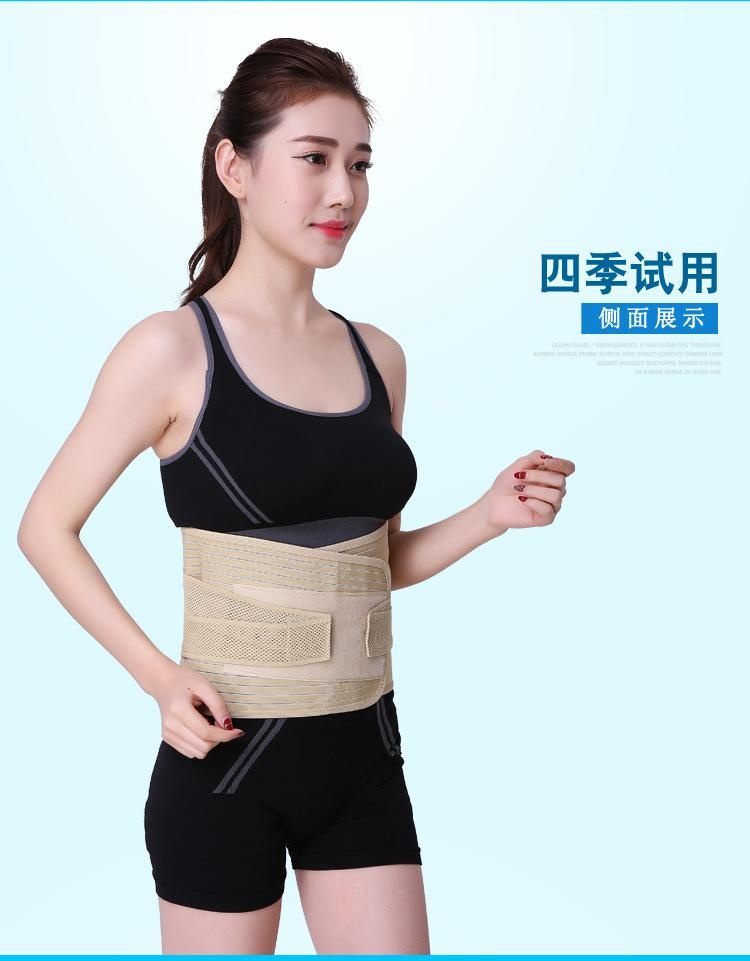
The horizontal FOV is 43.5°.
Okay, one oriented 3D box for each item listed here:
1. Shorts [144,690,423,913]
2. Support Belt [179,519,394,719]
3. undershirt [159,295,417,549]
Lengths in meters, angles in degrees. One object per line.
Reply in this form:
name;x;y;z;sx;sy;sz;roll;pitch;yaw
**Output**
Shorts;-0.158;0.541;1.716;0.474;0.353;0.265;3;-4;-33
Support Belt;-0.135;0.223;1.738;0.390;0.291;0.369;-2;-2;31
undershirt;-0.160;-0.128;1.775;0.304;0.402;0.529;7;9;43
